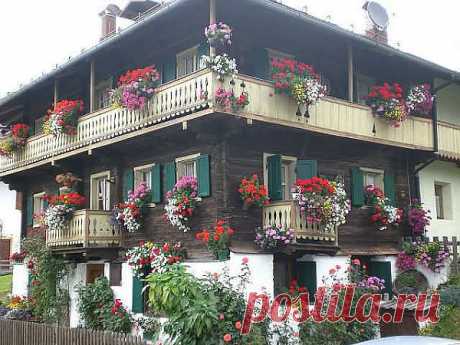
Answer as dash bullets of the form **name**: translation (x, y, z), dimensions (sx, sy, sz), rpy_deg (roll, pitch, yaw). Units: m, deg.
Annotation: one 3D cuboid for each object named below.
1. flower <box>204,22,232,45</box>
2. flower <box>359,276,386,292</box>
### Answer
- **flower**: translation (-0.446, -4.780, 26.313), dimensions (0.836, 0.618, 0.865), rpy_deg (11, 1, -17)
- **flower**: translation (5.041, 3.969, 27.428), dimensions (0.826, 0.554, 0.843), rpy_deg (8, -9, -21)
